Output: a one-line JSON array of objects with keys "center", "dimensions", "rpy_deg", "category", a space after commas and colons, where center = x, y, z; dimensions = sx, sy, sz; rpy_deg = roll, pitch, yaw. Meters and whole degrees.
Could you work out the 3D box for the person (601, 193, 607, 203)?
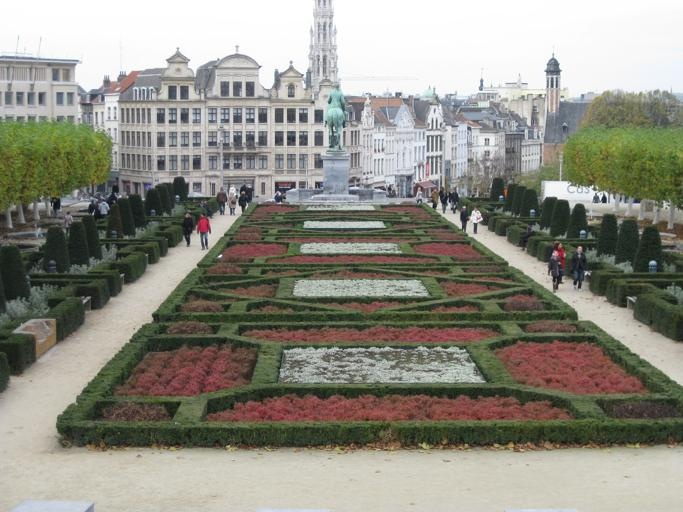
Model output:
[{"center": [21.723, -4.718, 80.047], "dimensions": [0.356, 0.846, 1.137], "rpy_deg": [5, 14, 25], "category": "person"}]
